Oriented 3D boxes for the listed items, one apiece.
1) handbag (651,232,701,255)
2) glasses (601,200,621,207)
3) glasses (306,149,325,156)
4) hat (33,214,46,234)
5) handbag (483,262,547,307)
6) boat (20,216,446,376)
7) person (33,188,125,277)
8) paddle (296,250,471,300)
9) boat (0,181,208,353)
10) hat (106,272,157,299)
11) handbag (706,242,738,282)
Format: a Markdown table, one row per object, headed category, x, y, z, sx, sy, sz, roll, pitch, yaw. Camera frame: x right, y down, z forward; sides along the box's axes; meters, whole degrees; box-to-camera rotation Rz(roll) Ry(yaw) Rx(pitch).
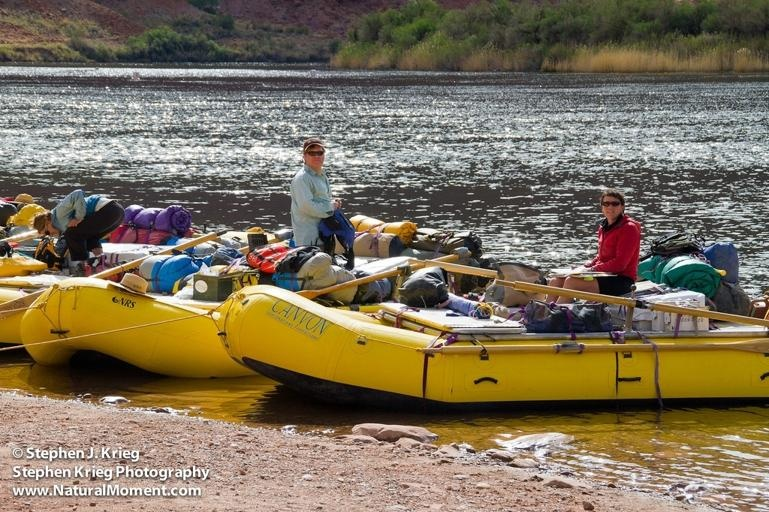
| category | x | y | z | sx | sy | sz | roll | pitch | yaw |
| --- | --- | --- | --- | --- | --- | --- | --- | --- | --- |
| handbag | 5.891 | -0.229 | 27.295 | 0.754 | 0.190 | 0.549 | -3 | 11 | 6 |
| glasses | 4.336 | -1.004 | 25.820 | 0.313 | 0.104 | 0.055 | 0 | 8 | 5 |
| glasses | -1.390 | -2.070 | 26.938 | 0.323 | 0.108 | 0.123 | -2 | 8 | -15 |
| hat | -7.491 | -0.712 | 29.284 | 0.346 | 0.349 | 0.152 | 0 | -6 | 34 |
| handbag | 2.640 | 0.633 | 26.911 | 1.182 | 0.938 | 0.895 | 22 | -9 | -9 |
| boat | -3.493 | 0.830 | 26.771 | 6.063 | 1.454 | 3.262 | -6 | 9 | -30 |
| person | -6.494 | -0.537 | 28.851 | 2.048 | 1.343 | 1.128 | -4 | -13 | 9 |
| paddle | -0.058 | 0.413 | 26.719 | 3.993 | 0.381 | 0.417 | -9 | 24 | -29 |
| boat | -4.791 | -0.298 | 28.575 | 6.341 | 2.421 | 1.742 | -3 | -1 | -7 |
| hat | -4.991 | 0.452 | 26.296 | 0.725 | 0.176 | 0.688 | 21 | 1 | 26 |
| handbag | 6.739 | 0.141 | 27.058 | 0.663 | 0.769 | 0.603 | 1 | 8 | 8 |
